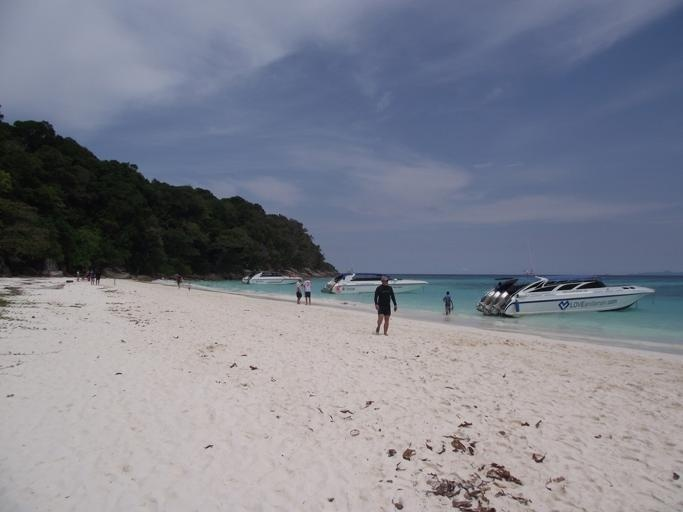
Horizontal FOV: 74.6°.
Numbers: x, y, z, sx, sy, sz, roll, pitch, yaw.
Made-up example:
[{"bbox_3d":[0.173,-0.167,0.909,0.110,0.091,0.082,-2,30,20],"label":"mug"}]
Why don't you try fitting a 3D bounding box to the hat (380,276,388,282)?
[{"bbox_3d":[1.602,0.853,16.918,0.176,0.202,0.242,-5,18,-25],"label":"hat"}]
